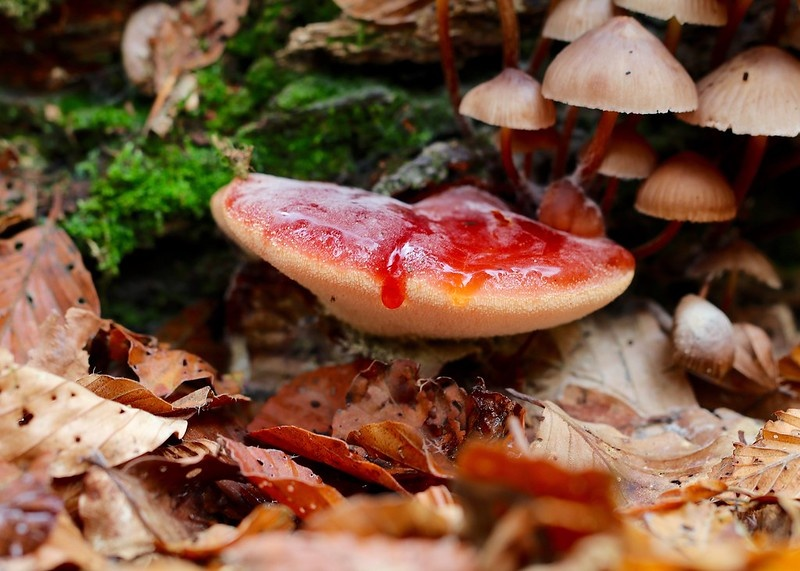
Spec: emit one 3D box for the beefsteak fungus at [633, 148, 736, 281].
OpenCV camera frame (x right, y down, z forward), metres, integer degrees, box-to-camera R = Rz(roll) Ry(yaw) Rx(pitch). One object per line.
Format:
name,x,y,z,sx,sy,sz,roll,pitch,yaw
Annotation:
beefsteak fungus,1.028,-0.260,2.883,0.333,0.443,0.388,2,18,1

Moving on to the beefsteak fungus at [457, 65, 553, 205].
beefsteak fungus,0.385,-0.532,2.878,0.327,0.495,0.357,-11,34,-15

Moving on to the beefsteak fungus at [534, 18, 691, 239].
beefsteak fungus,0.718,-0.533,2.782,0.570,0.623,0.355,-23,53,-6
